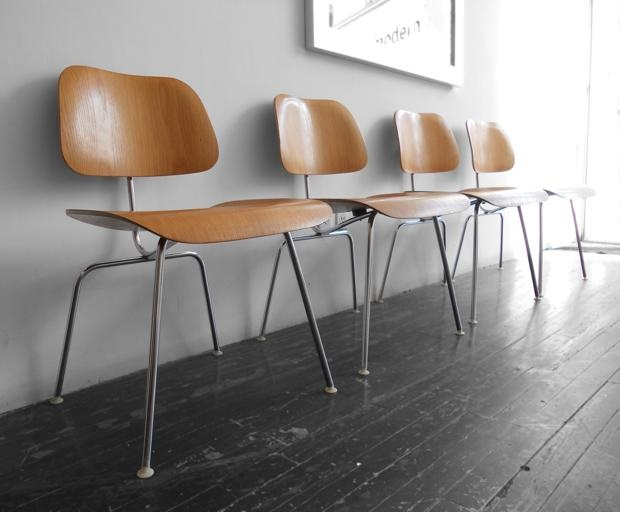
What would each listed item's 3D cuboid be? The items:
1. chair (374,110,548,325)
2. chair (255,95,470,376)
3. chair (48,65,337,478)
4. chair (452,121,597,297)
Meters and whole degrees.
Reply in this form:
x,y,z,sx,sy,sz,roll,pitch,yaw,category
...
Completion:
x,y,z,sx,sy,sz,roll,pitch,yaw,category
0.810,-0.220,2.448,0.714,0.979,0.667,-6,8,-43,chair
0.193,-0.122,1.823,0.569,0.883,0.637,-8,13,-39,chair
-0.342,-0.039,1.412,0.625,0.931,0.637,10,14,39,chair
1.181,-0.320,2.920,0.702,0.921,0.580,0,16,5,chair
